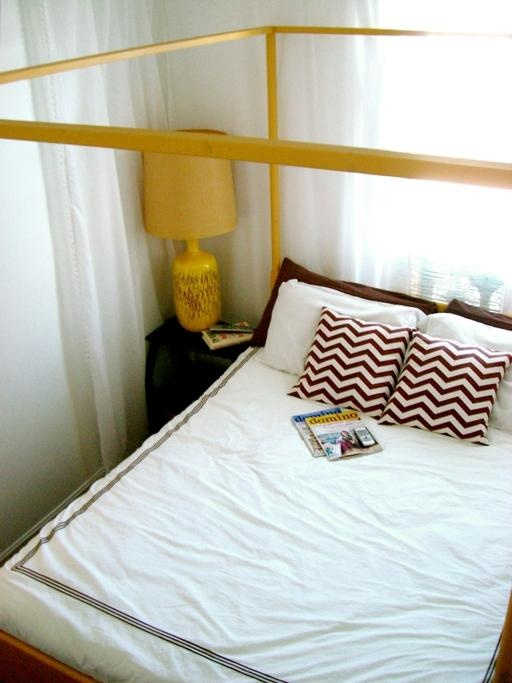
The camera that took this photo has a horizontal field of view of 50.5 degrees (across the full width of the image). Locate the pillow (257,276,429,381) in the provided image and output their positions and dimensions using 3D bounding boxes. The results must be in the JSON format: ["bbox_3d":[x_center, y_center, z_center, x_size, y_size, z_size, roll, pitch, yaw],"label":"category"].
[{"bbox_3d":[0.309,0.014,2.380,0.622,0.380,0.175,14,-9,42],"label":"pillow"}]

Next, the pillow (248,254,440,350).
[{"bbox_3d":[0.393,-0.177,2.376,0.638,0.423,0.112,19,-4,26],"label":"pillow"}]

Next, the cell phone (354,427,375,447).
[{"bbox_3d":[0.372,0.325,1.860,0.031,0.025,0.073,-12,25,-6],"label":"cell phone"}]

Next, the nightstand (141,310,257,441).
[{"bbox_3d":[-0.373,0.113,2.822,0.558,0.743,0.454,14,29,29],"label":"nightstand"}]
